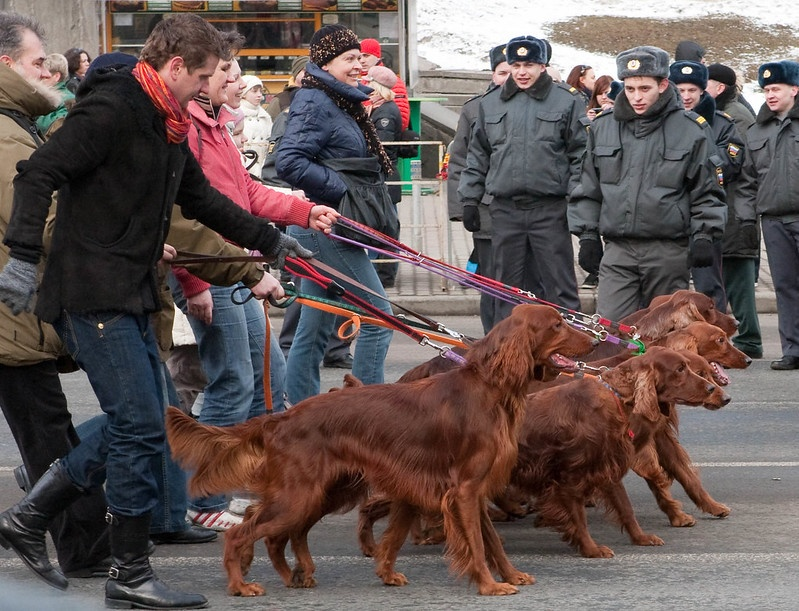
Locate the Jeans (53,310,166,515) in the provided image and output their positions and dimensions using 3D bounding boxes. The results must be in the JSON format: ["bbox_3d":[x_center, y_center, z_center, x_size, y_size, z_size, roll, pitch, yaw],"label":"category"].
[{"bbox_3d":[-1.529,0.530,8.038,0.647,1.086,0.651,2,0,-20],"label":"Jeans"}]

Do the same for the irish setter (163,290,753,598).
[{"bbox_3d":[-0.067,0.761,8.091,2.133,1.520,0.548,1,15,2],"label":"irish setter"}]

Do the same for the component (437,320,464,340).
[{"bbox_3d":[0.391,0.171,11.102,0.230,0.058,0.108,19,-6,7],"label":"component"}]

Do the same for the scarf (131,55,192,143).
[{"bbox_3d":[-1.175,-1.103,7.701,0.172,0.269,0.376,18,0,-39],"label":"scarf"}]

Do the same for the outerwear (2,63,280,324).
[{"bbox_3d":[-1.663,-0.578,8.191,1.324,1.242,1.848,5,6,26],"label":"outerwear"}]

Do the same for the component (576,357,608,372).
[{"bbox_3d":[1.142,0.341,8.939,0.186,0.038,0.100,-1,3,-21],"label":"component"}]

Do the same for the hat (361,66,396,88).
[{"bbox_3d":[-0.197,-2.373,15.711,0.231,0.136,0.277,8,27,-28],"label":"hat"}]

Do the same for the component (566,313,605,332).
[{"bbox_3d":[1.160,0.105,9.361,0.273,0.049,0.133,7,1,-37],"label":"component"}]

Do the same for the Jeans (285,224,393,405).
[{"bbox_3d":[-0.390,0.048,9.778,0.838,1.508,0.336,-9,53,-2],"label":"Jeans"}]

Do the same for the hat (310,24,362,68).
[{"bbox_3d":[-0.420,-1.746,10.247,0.360,0.227,0.302,2,5,8],"label":"hat"}]

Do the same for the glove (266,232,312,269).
[{"bbox_3d":[-0.587,-0.291,8.518,0.244,0.166,0.102,28,37,-19],"label":"glove"}]
